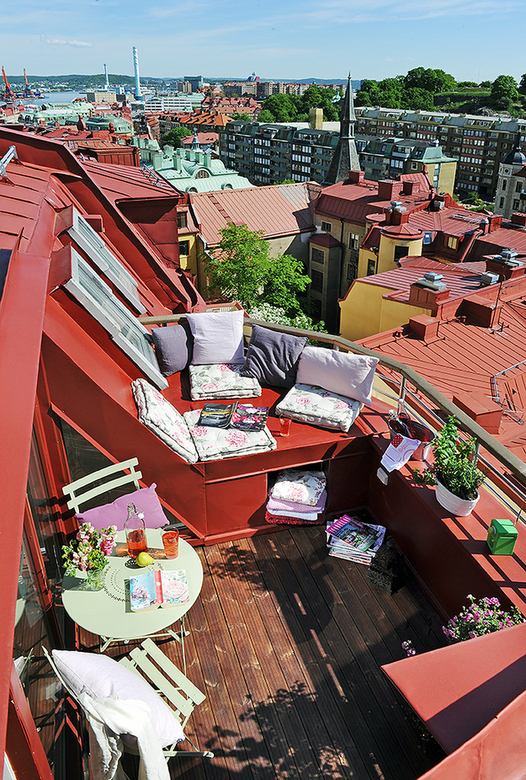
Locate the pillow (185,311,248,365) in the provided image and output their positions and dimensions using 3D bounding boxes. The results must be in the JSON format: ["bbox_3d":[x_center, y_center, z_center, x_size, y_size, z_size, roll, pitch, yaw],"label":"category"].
[{"bbox_3d":[-0.540,-0.614,5.932,0.647,0.637,0.238,-7,11,-14],"label":"pillow"}]

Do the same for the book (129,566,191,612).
[{"bbox_3d":[-0.698,1.304,3.371,0.279,0.066,0.224,-2,34,-17],"label":"book"}]

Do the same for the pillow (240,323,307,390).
[{"bbox_3d":[0.126,-0.359,5.675,0.610,0.652,0.277,13,12,9],"label":"pillow"}]

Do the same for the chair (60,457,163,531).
[{"bbox_3d":[-1.248,0.857,4.185,0.577,0.452,0.626,-25,0,-11],"label":"chair"}]

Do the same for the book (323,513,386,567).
[{"bbox_3d":[0.840,1.356,4.658,0.534,0.181,0.431,8,28,16],"label":"book"}]

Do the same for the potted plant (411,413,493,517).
[{"bbox_3d":[1.520,0.623,4.120,0.489,0.696,0.461,-25,44,-25],"label":"potted plant"}]

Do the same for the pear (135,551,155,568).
[{"bbox_3d":[-0.835,1.184,3.588,0.122,0.096,0.094,11,27,17],"label":"pear"}]
